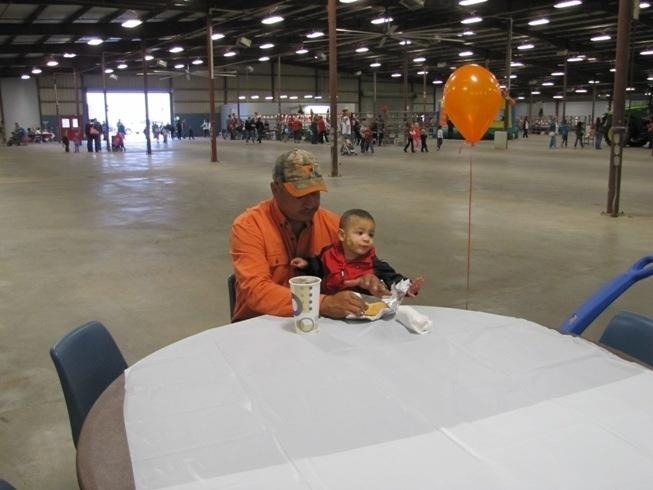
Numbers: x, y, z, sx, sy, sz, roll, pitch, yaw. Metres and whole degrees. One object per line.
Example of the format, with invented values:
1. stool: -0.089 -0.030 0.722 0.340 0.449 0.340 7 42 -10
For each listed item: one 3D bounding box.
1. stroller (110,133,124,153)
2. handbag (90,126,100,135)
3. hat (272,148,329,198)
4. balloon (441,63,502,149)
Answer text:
1. stroller: -11.181 -5.421 24.925 0.639 0.909 1.291 -4 21 -14
2. handbag: -12.087 -5.921 24.545 0.214 0.425 0.858 -4 15 -15
3. hat: -0.142 -0.350 2.286 0.246 0.221 0.363 -1 9 -31
4. balloon: 1.417 -1.383 4.607 0.530 0.797 0.597 2 -2 11
